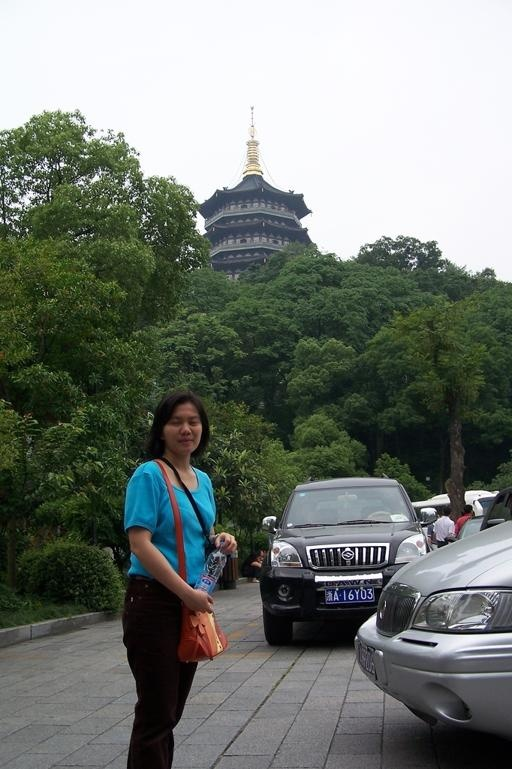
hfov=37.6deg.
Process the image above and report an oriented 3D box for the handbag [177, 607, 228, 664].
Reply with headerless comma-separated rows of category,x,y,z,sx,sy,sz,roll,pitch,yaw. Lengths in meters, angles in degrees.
handbag,-0.165,0.766,2.337,0.073,0.175,0.184,-25,-24,21
